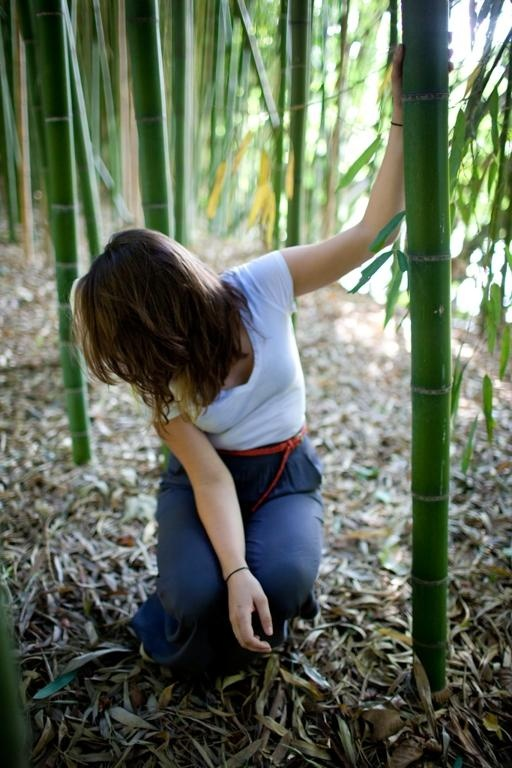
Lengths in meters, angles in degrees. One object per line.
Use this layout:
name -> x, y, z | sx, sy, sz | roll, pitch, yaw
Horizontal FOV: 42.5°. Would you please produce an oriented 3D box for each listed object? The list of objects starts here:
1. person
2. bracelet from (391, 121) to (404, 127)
person -> -0.054, 0.099, 1.131 | 0.505, 1.255, 0.467 | 1, 8, -20
bracelet -> 0.202, -0.372, 0.938 | 0.013, 0.003, 0.014 | 6, 13, 9
